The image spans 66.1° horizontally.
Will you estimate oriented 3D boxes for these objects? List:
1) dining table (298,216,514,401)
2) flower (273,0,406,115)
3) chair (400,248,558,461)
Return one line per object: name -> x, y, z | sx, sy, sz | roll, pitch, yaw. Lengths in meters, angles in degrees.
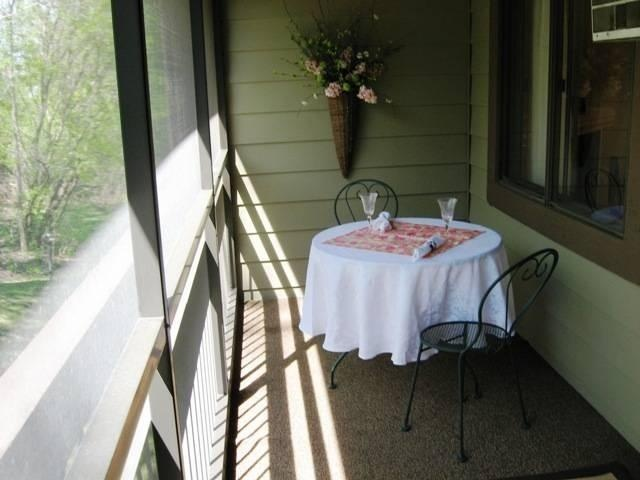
dining table -> 0.391, 0.271, 2.600 | 0.795, 0.442, 0.817 | 13, 23, 36
flower -> 0.177, -1.481, 3.850 | 0.874, 0.818, 0.296 | -6, 0, -3
chair -> 0.831, 0.628, 2.609 | 0.581, 1.165, 0.707 | -12, 17, -31
